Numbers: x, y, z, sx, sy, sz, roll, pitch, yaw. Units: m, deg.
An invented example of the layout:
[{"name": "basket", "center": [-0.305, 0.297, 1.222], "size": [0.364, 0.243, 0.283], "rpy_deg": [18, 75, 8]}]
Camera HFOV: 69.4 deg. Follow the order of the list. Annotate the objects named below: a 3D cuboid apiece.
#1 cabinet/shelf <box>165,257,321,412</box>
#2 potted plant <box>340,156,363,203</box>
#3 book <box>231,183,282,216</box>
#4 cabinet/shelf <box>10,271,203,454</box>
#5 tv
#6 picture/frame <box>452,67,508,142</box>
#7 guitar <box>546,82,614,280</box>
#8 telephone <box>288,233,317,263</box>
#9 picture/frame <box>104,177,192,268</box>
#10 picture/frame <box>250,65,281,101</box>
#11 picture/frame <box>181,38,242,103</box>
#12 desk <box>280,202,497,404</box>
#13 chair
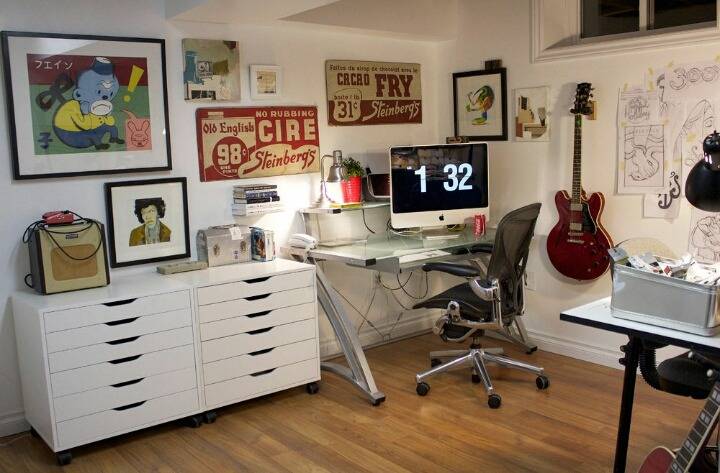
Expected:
[{"name": "cabinet/shelf", "center": [-0.841, 0.692, 3.606], "size": [1.006, 0.913, 0.540], "rpy_deg": [-8, 6, -38]}, {"name": "potted plant", "center": [-0.065, -0.459, 4.305], "size": [0.163, 0.365, 0.237], "rpy_deg": [-2, 14, 1]}, {"name": "book", "center": [-0.800, -0.275, 3.990], "size": [0.378, 0.236, 0.170], "rpy_deg": [-6, 15, -15]}, {"name": "cabinet/shelf", "center": [-1.609, 0.637, 3.685], "size": [1.355, 1.226, 0.960], "rpy_deg": [-9, 9, -38]}, {"name": "tv", "center": [0.645, -0.378, 4.291], "size": [0.816, 0.655, 0.255], "rpy_deg": [-4, 3, -19]}, {"name": "picture/frame", "center": [1.074, -1.178, 4.624], "size": [0.056, 0.755, 0.655], "rpy_deg": [-13, 17, -43]}, {"name": "guitar", "center": [1.704, -0.391, 3.999], "size": [0.328, 1.514, 0.403], "rpy_deg": [-7, 15, -18]}, {"name": "telephone", "center": [-0.476, 0.101, 4.052], "size": [0.231, 0.217, 0.195], "rpy_deg": [-1, 5, 23]}, {"name": "picture/frame", "center": [-1.542, -0.106, 3.703], "size": [0.633, 0.640, 0.050], "rpy_deg": [-6, 6, -32]}, {"name": "picture/frame", "center": [-0.751, -1.196, 4.038], "size": [0.296, 0.288, 0.031], "rpy_deg": [-4, 13, -35]}, {"name": "picture/frame", "center": [-1.107, -1.238, 3.862], "size": [0.446, 0.433, 0.025], "rpy_deg": [-12, 27, -32]}, {"name": "desk", "center": [0.418, 0.431, 4.393], "size": [1.128, 1.319, 1.722], "rpy_deg": [1, 7, 42]}, {"name": "chair", "center": [0.874, 0.445, 3.870], "size": [0.952, 1.328, 0.893], "rpy_deg": [5, 8, 34]}]
